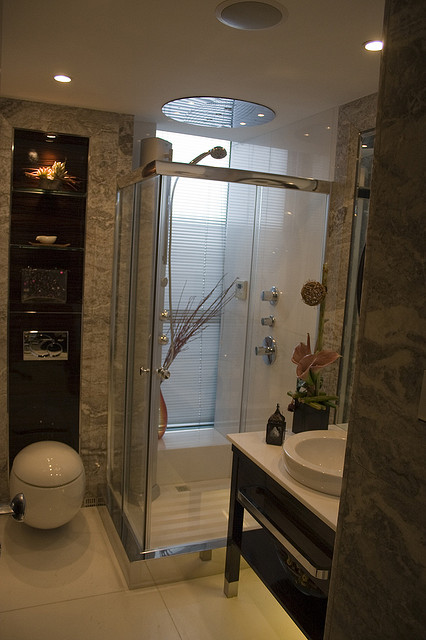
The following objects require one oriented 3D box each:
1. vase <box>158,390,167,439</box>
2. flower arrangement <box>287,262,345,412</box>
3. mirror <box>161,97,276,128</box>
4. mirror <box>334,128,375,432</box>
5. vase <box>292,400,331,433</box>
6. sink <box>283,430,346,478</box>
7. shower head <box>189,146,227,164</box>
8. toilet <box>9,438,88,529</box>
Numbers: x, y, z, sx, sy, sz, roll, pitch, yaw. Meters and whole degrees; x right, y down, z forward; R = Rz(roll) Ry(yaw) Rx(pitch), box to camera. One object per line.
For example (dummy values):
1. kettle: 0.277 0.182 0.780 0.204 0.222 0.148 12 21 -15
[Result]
1. vase: -0.242 0.461 2.268 0.031 0.227 0.083 3 3 4
2. flower arrangement: 0.468 0.077 2.142 0.253 0.632 0.310 3 -2 16
3. mirror: 0.019 -1.118 2.536 0.618 0.051 0.454 3 3 5
4. mirror: 0.633 -0.165 2.148 0.060 1.345 0.219 3 2 4
5. vase: 0.429 0.418 2.067 0.078 0.142 0.146 -1 8 -35
6. sink: 0.369 0.494 1.725 0.280 0.094 0.284 -1 5 -9
7. shower head: -0.014 -0.786 2.232 0.166 0.067 0.104 -12 17 10
8. toilet: -0.834 0.848 2.626 0.376 0.453 0.455 3 26 -10
